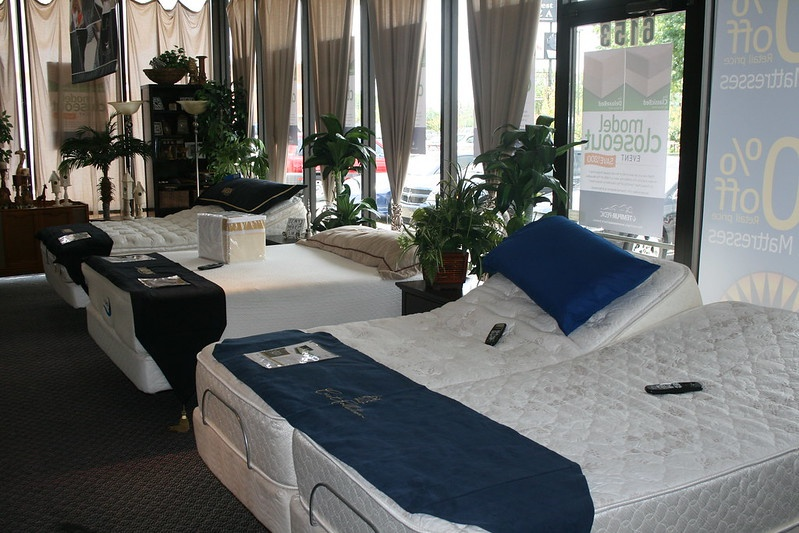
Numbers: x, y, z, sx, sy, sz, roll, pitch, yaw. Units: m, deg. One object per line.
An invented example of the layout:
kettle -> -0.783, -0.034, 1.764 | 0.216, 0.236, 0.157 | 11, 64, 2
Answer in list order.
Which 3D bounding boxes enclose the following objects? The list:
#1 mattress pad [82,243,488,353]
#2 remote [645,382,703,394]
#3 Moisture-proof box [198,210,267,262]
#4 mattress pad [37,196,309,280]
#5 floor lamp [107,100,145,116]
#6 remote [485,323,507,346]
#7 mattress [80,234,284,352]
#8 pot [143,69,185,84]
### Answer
mattress pad -> -0.740, 0.169, 4.078 | 1.361, 0.319, 1.403 | -7, 11, -26
remote -> 1.114, 0.488, 2.178 | 0.176, 0.027, 0.082 | -5, 2, 0
Moisture-proof box -> -1.478, -0.274, 4.747 | 0.588, 0.346, 0.576 | -4, 11, -36
mattress pad -> -2.130, -0.392, 5.871 | 1.875, 0.589, 1.325 | -3, 6, -29
floor lamp -> -3.818, -2.195, 7.545 | 0.441, 0.146, 0.424 | -3, 5, -4
remote -> 0.489, 0.335, 2.766 | 0.066, 0.031, 0.136 | 9, 43, 34
mattress -> -1.632, 0.277, 3.700 | 0.678, 0.459, 1.372 | -12, 19, -28
pot -> -3.448, -2.791, 7.973 | 0.348, 0.119, 0.334 | 0, 8, 0
